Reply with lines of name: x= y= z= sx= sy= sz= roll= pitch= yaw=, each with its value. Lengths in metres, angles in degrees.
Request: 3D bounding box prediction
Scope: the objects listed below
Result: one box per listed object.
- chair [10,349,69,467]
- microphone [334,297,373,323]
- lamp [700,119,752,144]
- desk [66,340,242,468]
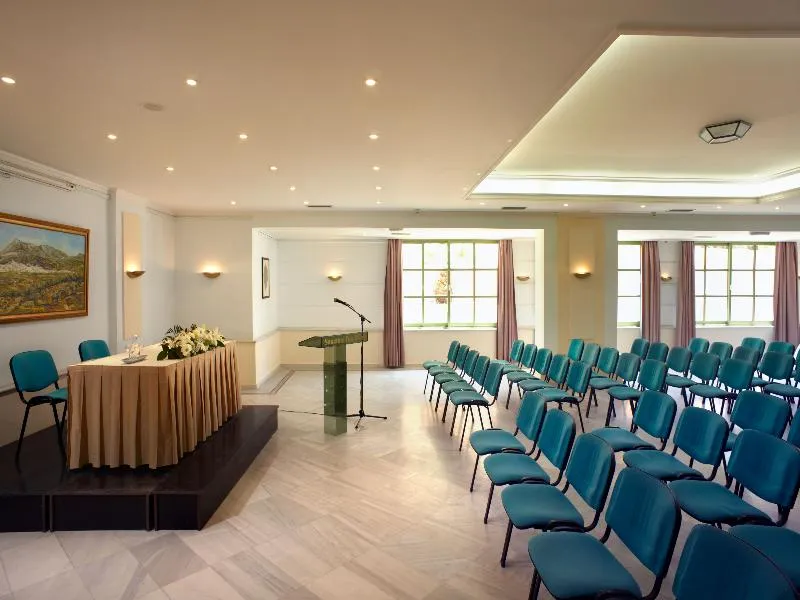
chair: x=-3.965 y=1.078 z=5.968 sx=0.502 sy=1.053 sz=1.595 roll=-7 pitch=11 yaw=-32
microphone: x=-0.906 y=0.193 z=10.441 sx=0.664 sy=0.105 sz=0.116 roll=39 pitch=0 yaw=-5
lamp: x=3.728 y=-1.936 z=6.189 sx=0.512 sy=0.204 sz=0.390 roll=4 pitch=10 yaw=32
desk: x=-2.429 y=1.025 z=5.566 sx=0.915 sy=1.019 sz=1.618 roll=4 pitch=10 yaw=29
